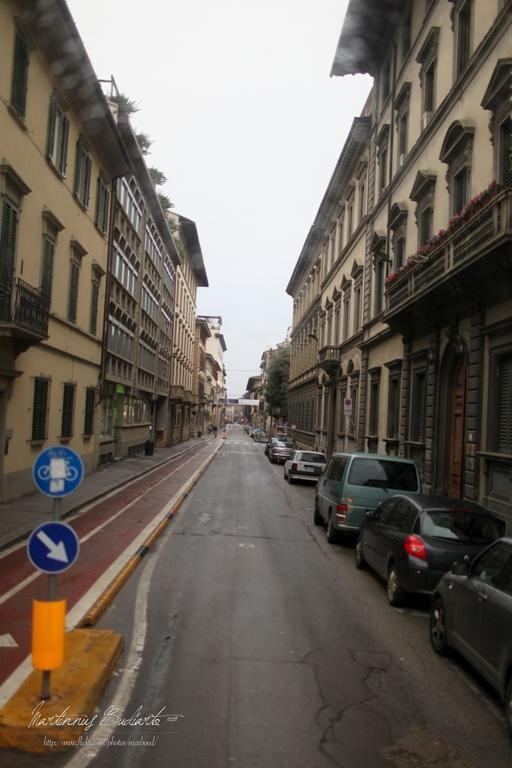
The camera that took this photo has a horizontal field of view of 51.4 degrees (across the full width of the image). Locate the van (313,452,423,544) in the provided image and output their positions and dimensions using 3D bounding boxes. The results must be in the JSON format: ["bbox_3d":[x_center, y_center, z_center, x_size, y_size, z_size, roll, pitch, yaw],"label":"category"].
[{"bbox_3d":[2.172,2.385,11.639,1.152,1.673,2.760,3,-3,-4],"label":"van"}]

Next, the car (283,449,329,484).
[{"bbox_3d":[2.145,3.730,24.688,1.071,1.206,2.227,2,1,-4],"label":"car"}]

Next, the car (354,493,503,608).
[{"bbox_3d":[2.182,2.001,7.308,0.979,1.201,2.201,3,-1,-4],"label":"car"}]
